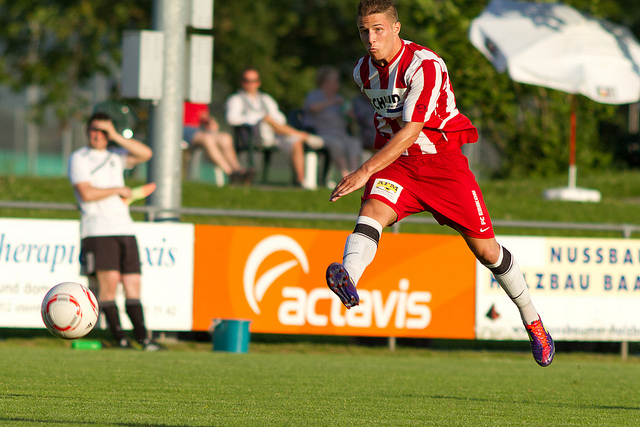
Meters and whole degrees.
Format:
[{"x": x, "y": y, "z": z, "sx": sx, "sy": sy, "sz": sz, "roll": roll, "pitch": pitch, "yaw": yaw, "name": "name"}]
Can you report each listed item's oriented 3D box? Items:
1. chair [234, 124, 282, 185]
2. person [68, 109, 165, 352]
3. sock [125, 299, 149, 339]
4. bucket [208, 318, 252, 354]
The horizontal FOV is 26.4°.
[{"x": -1.130, "y": -1.211, "z": 26.688, "sx": 0.974, "sy": 1.576, "sz": 0.876, "roll": -2, "pitch": 4, "yaw": -17, "name": "chair"}, {"x": -3.451, "y": 0.305, "z": 22.959, "sx": 1.351, "sy": 3.998, "sz": 0.985, "roll": -1, "pitch": 4, "yaw": -9, "name": "person"}, {"x": -3.027, "y": 1.911, "z": 22.736, "sx": 0.298, "sy": 0.363, "sz": 1.108, "roll": 2, "pitch": 33, "yaw": -15, "name": "sock"}, {"x": -1.447, "y": 2.043, "z": 23.013, "sx": 0.508, "sy": 0.458, "sz": 0.541, "roll": 2, "pitch": -1, "yaw": 0, "name": "bucket"}]
